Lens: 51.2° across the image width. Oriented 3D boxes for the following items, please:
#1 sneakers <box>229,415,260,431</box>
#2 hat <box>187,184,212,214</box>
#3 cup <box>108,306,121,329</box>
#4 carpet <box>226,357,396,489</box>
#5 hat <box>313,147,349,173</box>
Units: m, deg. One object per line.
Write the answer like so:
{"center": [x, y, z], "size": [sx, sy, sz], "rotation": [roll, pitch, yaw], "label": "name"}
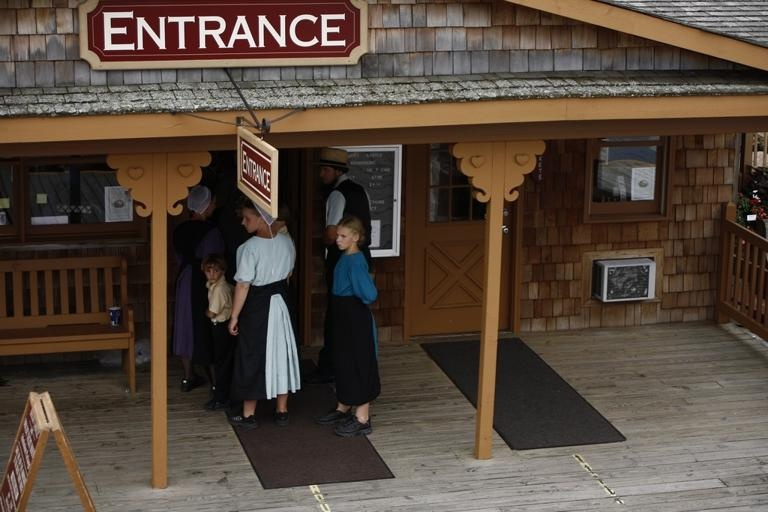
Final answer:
{"center": [-1.486, 1.759, 8.526], "size": [0.316, 0.132, 0.116], "rotation": [7, 8, 21], "label": "sneakers"}
{"center": [-1.996, -0.598, 8.711], "size": [0.261, 0.314, 0.205], "rotation": [-8, 12, -19], "label": "hat"}
{"center": [-3.066, 0.695, 9.136], "size": [0.212, 0.224, 0.203], "rotation": [2, 4, 0], "label": "cup"}
{"center": [-0.809, 1.928, 8.319], "size": [1.305, 0.360, 1.649], "rotation": [-8, 12, -20], "label": "carpet"}
{"center": [-0.593, -1.100, 9.404], "size": [0.347, 0.152, 0.288], "rotation": [5, 9, -20], "label": "hat"}
